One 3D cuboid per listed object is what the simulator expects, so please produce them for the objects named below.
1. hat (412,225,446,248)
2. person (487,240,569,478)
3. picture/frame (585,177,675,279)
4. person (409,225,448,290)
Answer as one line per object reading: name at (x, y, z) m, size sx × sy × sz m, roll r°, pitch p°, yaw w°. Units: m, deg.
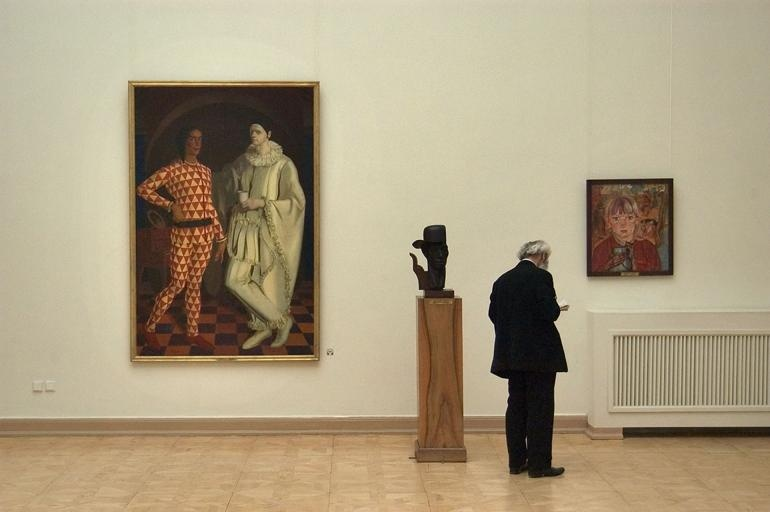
hat at (0.512, -0.225, 9.821) m, size 0.227 × 0.181 × 0.325 m, roll 3°, pitch 6°, yaw 40°
person at (1.569, 1.113, 9.552) m, size 0.815 × 2.530 × 0.371 m, roll -1°, pitch 0°, yaw 11°
picture/frame at (2.981, -0.372, 10.603) m, size 1.096 × 1.343 × 0.067 m, roll 0°, pitch -1°, yaw -2°
person at (0.506, 0.016, 9.886) m, size 0.406 × 0.733 × 0.422 m, roll -1°, pitch 4°, yaw -4°
